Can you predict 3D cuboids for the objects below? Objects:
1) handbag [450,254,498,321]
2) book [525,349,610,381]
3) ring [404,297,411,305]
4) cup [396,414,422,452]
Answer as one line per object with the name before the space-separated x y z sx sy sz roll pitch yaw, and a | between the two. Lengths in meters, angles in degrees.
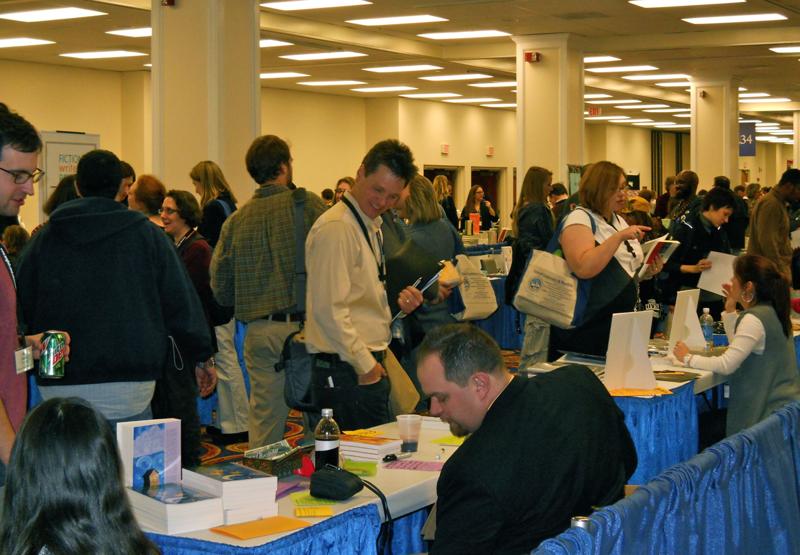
handbag | 0.481 0.006 4.043 0.242 0.368 0.142 2 32 34
book | 0.980 0.492 3.954 0.361 0.095 0.366 0 0 25
ring | 0.038 0.118 3.500 0.029 0.030 0.007 -1 -9 -10
cup | 0.042 0.638 2.864 0.107 0.122 0.115 1 -16 0
